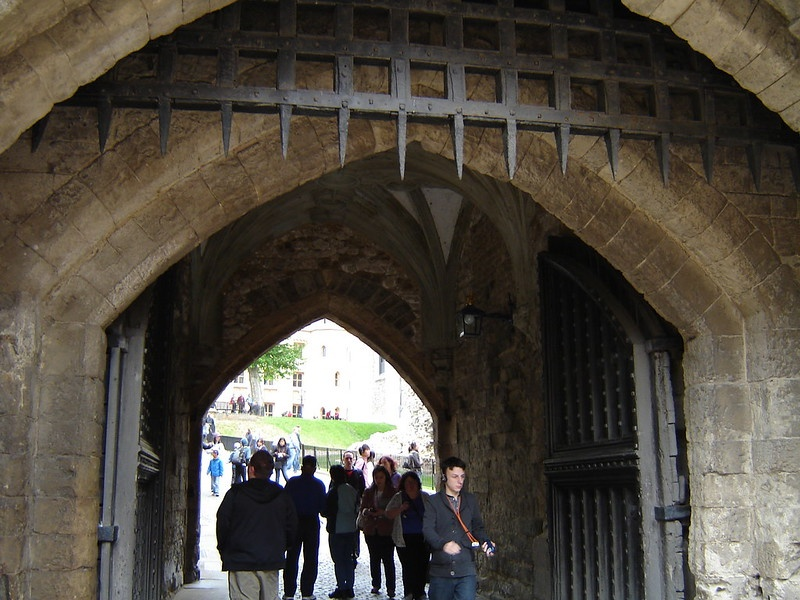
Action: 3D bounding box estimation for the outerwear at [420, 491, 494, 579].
[{"bbox_3d":[0.298,1.254,4.488,0.310,0.466,0.258,4,-15,-9],"label":"outerwear"}]

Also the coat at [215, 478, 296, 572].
[{"bbox_3d":[-0.833,1.330,4.811,0.456,0.515,0.299,11,-25,-24],"label":"coat"}]

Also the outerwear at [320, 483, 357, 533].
[{"bbox_3d":[-0.492,1.769,7.036,0.323,0.401,0.215,9,-19,-34],"label":"outerwear"}]

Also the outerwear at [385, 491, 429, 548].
[{"bbox_3d":[0.082,1.673,6.345,0.359,0.376,0.206,-1,2,-20],"label":"outerwear"}]
